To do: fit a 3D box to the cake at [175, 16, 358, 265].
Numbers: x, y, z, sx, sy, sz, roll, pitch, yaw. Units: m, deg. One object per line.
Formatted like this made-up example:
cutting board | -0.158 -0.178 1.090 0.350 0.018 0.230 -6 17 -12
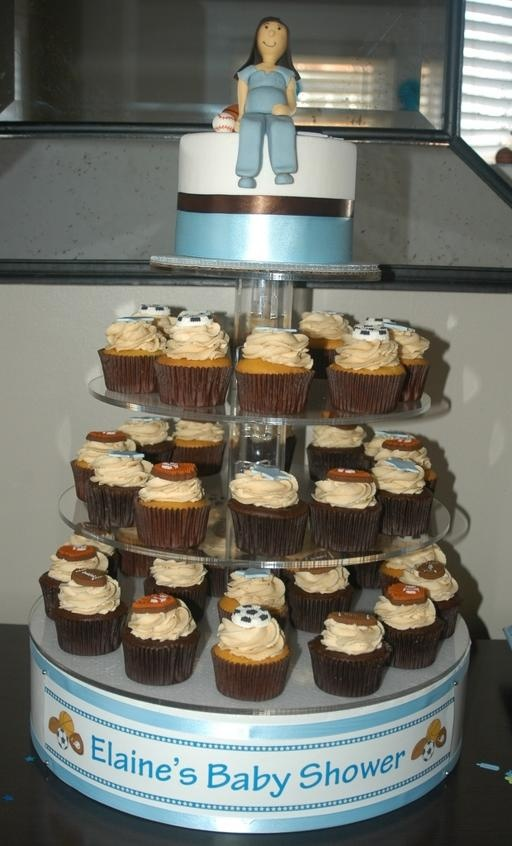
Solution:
cake | 0.036 -0.682 1.646 0.454 0.500 0.452 -7 30 -16
